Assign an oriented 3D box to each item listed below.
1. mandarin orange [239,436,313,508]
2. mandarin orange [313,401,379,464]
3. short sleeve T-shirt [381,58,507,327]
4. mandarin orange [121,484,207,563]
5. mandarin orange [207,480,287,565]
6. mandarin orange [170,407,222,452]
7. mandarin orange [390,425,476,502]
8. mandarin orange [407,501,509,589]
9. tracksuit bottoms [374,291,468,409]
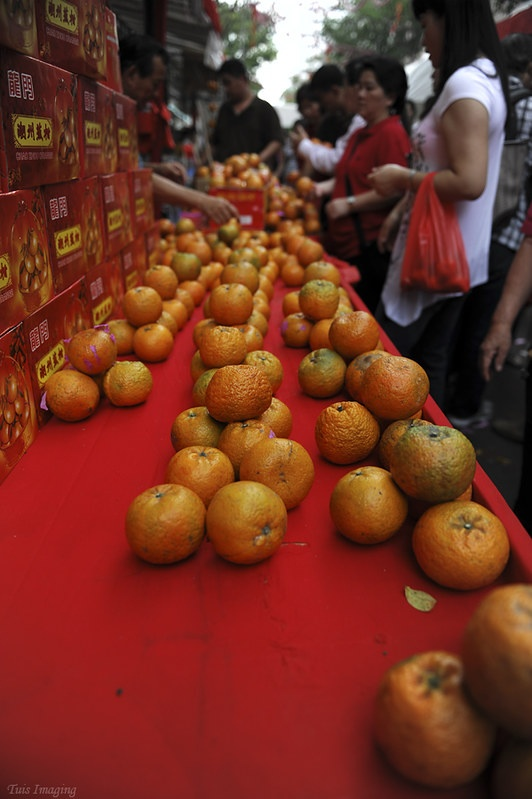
[{"bbox_3d":[0.023,0.156,1.256,0.165,0.175,0.169,1,9,-1],"label":"mandarin orange"},{"bbox_3d":[0.230,0.092,1.493,0.170,0.180,0.176,3,14,26],"label":"mandarin orange"},{"bbox_3d":[1.042,-1.128,2.836,0.482,1.310,0.617,19,46,35],"label":"short sleeve T-shirt"},{"bbox_3d":[-0.210,0.245,1.039,0.151,0.148,0.161,-2,3,-11],"label":"mandarin orange"},{"bbox_3d":[-0.041,0.276,1.114,0.174,0.188,0.188,-5,-2,-36],"label":"mandarin orange"},{"bbox_3d":[-0.203,0.077,1.434,0.120,0.122,0.122,4,14,-2],"label":"mandarin orange"},{"bbox_3d":[0.380,0.147,1.196,0.167,0.171,0.171,5,-8,4],"label":"mandarin orange"},{"bbox_3d":[0.413,0.348,1.101,0.165,0.128,0.170,-29,45,-5],"label":"mandarin orange"},{"bbox_3d":[0.817,-0.315,2.636,0.197,0.892,0.239,-12,57,11],"label":"tracksuit bottoms"}]
